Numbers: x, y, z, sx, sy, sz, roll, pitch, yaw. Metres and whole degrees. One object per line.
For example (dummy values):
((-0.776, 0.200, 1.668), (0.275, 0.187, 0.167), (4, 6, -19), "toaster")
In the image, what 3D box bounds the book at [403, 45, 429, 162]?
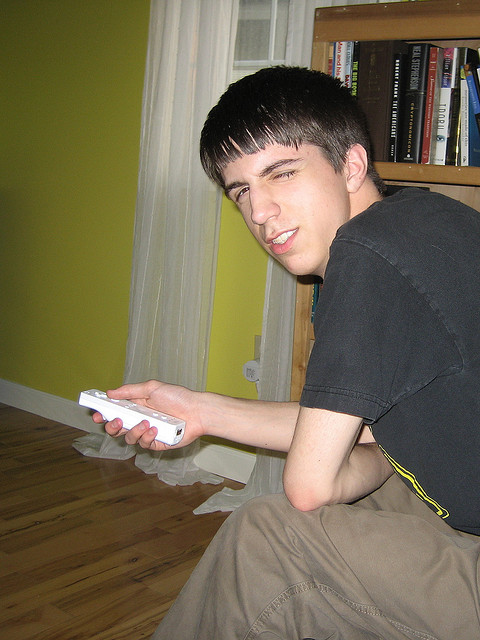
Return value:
((0.526, -0.662, 1.600), (0.040, 0.351, 0.270), (10, 18, 18), "book")

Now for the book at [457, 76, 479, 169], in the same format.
((0.663, -0.578, 1.573), (0.052, 0.213, 0.211), (-2, 12, 13), "book")

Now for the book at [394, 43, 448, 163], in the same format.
((0.544, -0.662, 1.598), (0.105, 0.268, 0.290), (6, 25, 10), "book")

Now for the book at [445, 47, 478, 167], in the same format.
((0.652, -0.636, 1.572), (0.042, 0.393, 0.302), (5, 15, 24), "book")
